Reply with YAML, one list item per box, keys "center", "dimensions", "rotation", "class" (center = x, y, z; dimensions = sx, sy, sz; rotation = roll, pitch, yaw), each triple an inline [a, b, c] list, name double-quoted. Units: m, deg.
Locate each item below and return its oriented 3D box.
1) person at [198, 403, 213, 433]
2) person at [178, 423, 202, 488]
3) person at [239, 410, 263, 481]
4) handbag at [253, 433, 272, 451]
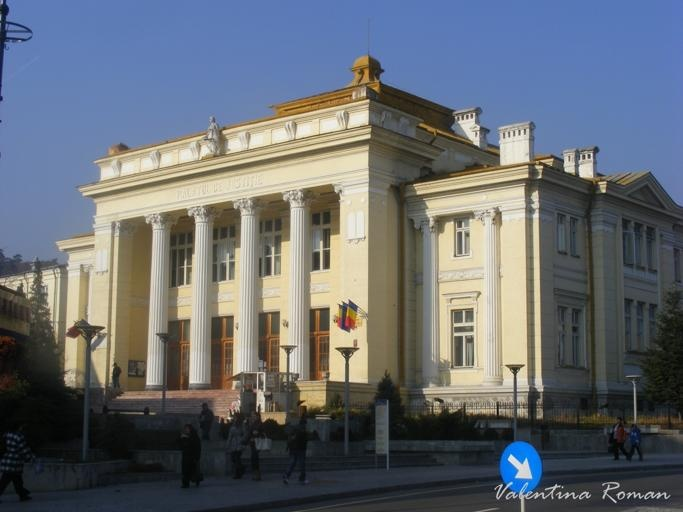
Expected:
- center: [-6.065, 7.207, 57.282]
  dimensions: [0.600, 1.599, 1.428]
  rotation: [1, -13, -6]
  class: "person"
- center: [-5.559, 7.235, 47.155]
  dimensions: [0.756, 2.318, 0.913]
  rotation: [-8, -15, 30]
  class: "person"
- center: [-3.568, 7.427, 50.299]
  dimensions: [0.918, 3.089, 1.200]
  rotation: [19, -35, -33]
  class: "person"
- center: [-3.034, 7.038, 49.389]
  dimensions: [0.626, 0.691, 1.215]
  rotation: [-1, -13, 4]
  class: "handbag"
